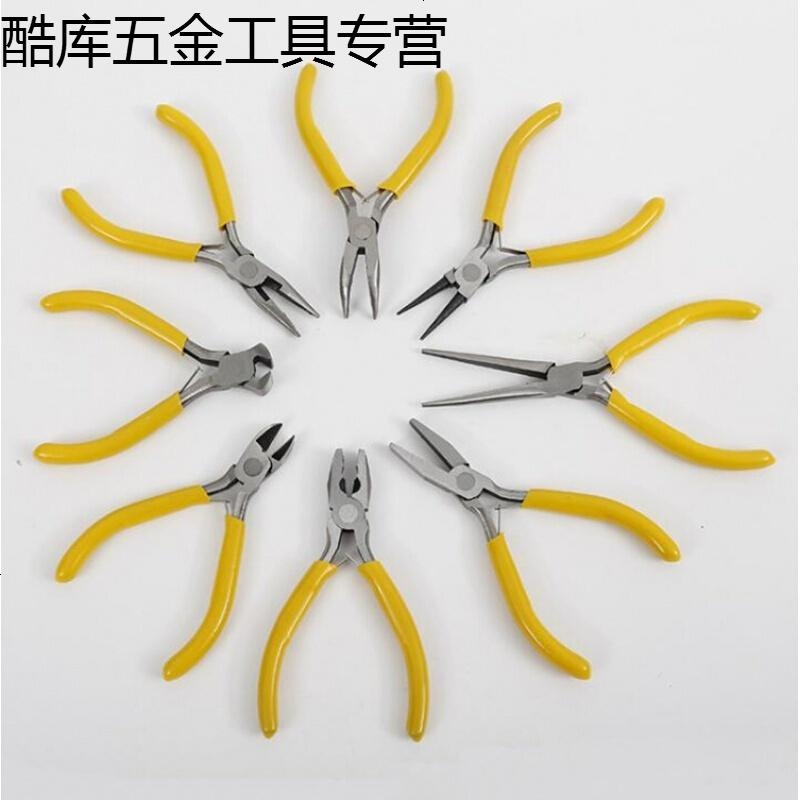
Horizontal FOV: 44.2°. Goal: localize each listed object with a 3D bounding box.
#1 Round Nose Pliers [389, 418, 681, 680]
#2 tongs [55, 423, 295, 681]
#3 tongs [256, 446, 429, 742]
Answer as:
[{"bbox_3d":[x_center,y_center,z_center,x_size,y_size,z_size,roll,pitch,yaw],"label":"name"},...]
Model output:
[{"bbox_3d":[0.200,0.231,1.856,0.335,0.065,0.584,-42,-101,4],"label":"Round Nose Pliers"},{"bbox_3d":[-0.390,0.314,1.829,0.491,0.191,0.326,-24,-82,1],"label":"tongs"},{"bbox_3d":[-0.098,0.348,1.807,0.329,0.067,0.726,2,-57,-3],"label":"tongs"}]
